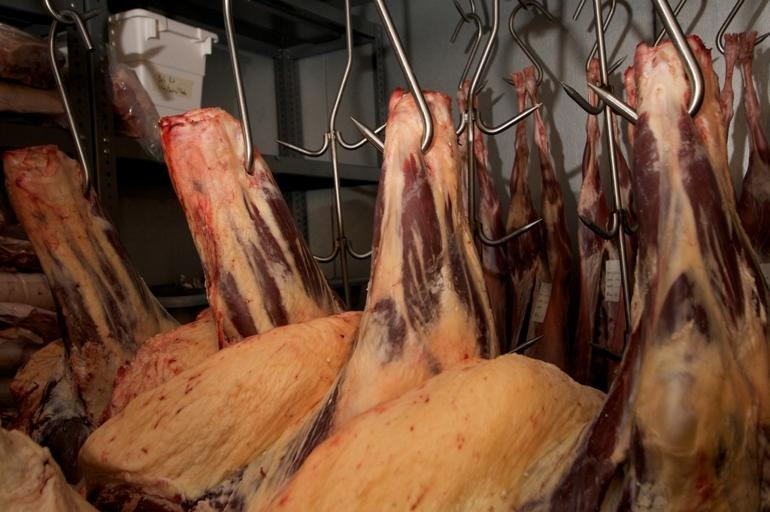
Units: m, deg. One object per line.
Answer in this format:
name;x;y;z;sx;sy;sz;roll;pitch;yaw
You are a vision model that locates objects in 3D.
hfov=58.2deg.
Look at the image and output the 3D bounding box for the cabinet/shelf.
cabinet/shelf;-0.560;-0.371;2.391;1.102;1.389;0.369;-1;4;-29
